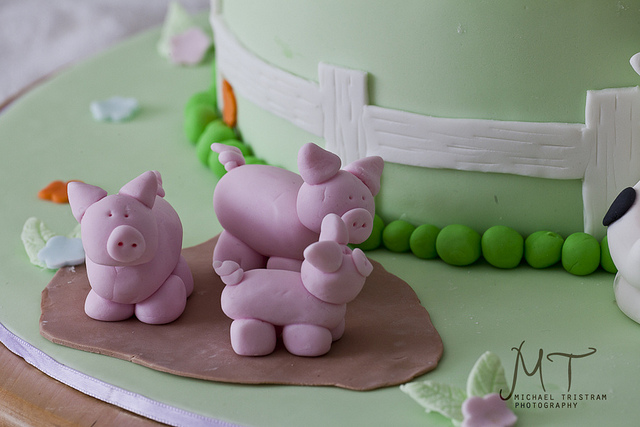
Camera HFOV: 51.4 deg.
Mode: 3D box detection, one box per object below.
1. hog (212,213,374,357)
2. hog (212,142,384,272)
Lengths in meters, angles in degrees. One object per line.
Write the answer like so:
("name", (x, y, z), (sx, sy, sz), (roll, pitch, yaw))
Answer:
("hog", (-0.112, 0.257, 2.441), (0.536, 0.480, 0.322), (4, 24, 2))
("hog", (-0.119, -0.063, 2.788), (0.729, 0.607, 0.386), (16, 14, 17))
